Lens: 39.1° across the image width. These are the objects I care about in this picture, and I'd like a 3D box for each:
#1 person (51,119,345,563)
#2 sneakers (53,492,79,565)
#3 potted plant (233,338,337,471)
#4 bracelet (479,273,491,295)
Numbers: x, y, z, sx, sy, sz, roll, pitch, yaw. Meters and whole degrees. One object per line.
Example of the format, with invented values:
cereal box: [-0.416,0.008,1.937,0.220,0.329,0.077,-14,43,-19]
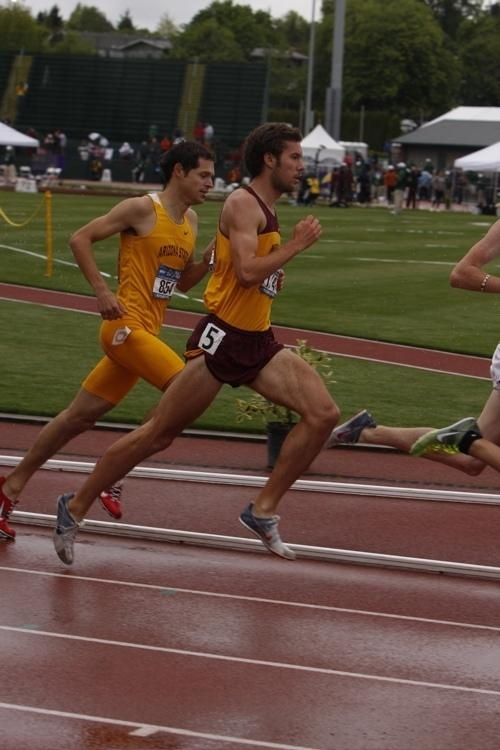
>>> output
person: [-0.129,-0.160,3.012,1.023,1.753,0.527,3,-1,25]
sneakers: [-0.774,0.650,3.006,0.142,0.301,0.105,-12,-11,26]
potted plant: [0.264,0.267,5.333,0.640,0.835,0.812,5,-5,-16]
bracelet: [0.990,-0.389,2.933,0.023,0.072,0.060,10,-18,2]
